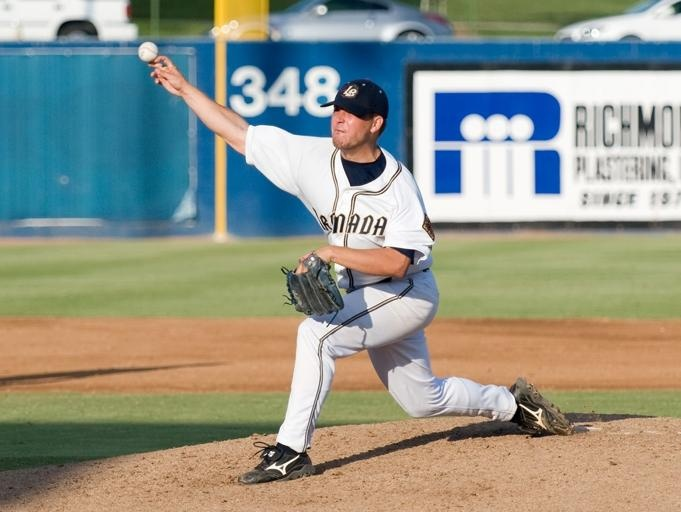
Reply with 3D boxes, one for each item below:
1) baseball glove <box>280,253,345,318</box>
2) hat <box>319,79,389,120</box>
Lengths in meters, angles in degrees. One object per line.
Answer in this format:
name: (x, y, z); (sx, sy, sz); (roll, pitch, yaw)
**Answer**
baseball glove: (-0.190, 0.227, 10.827); (0.384, 0.473, 0.137); (-30, 9, 28)
hat: (0.100, -1.169, 10.982); (0.410, 0.231, 0.298); (12, 10, -29)
